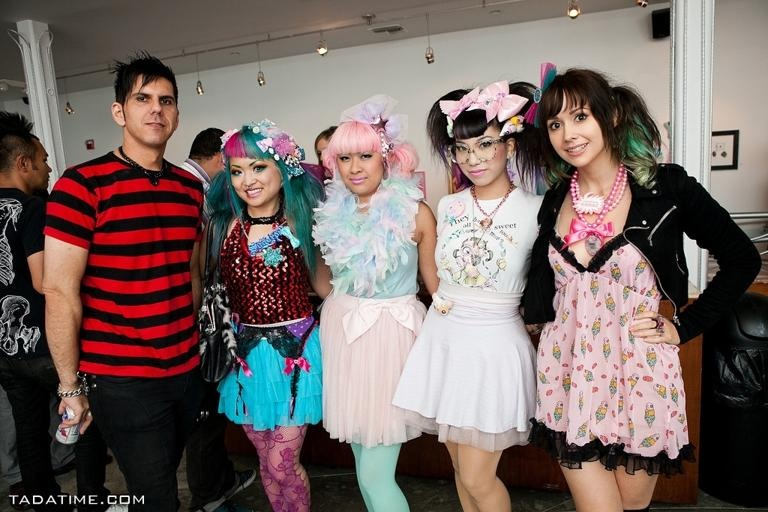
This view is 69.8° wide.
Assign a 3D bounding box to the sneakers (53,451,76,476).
[{"bbox_3d":[-2.252,1.465,3.838,0.109,0.115,0.041,-1,-8,0],"label":"sneakers"}]

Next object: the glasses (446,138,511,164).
[{"bbox_3d":[0.479,-0.519,2.688,0.258,0.120,0.097,-3,10,12],"label":"glasses"}]

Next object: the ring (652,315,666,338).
[{"bbox_3d":[1.210,0.304,2.411,0.026,0.073,0.074,-13,0,38],"label":"ring"}]

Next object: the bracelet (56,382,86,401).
[{"bbox_3d":[-1.527,0.660,2.668,0.079,0.041,0.100,-1,2,1],"label":"bracelet"}]

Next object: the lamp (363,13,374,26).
[{"bbox_3d":[-0.204,-2.882,6.680,0.100,0.079,0.098,-2,-14,5],"label":"lamp"}]

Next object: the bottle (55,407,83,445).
[{"bbox_3d":[-1.577,0.842,2.706,0.103,0.195,0.083,-5,9,-1],"label":"bottle"}]
